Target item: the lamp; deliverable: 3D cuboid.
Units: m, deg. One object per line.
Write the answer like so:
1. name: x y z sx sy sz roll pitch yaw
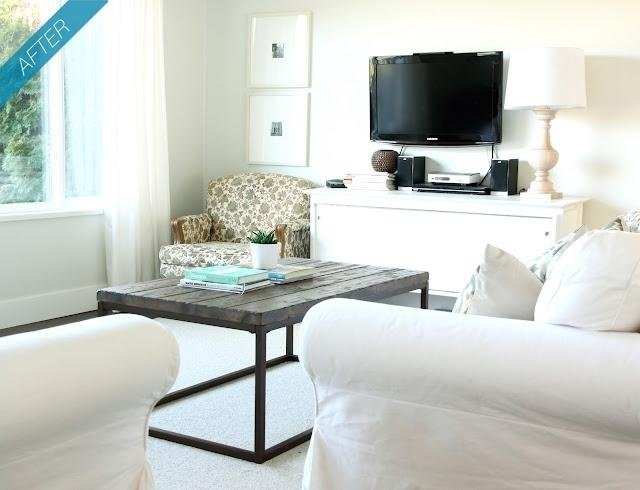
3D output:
1. lamp: 1.513 -0.800 3.471 0.376 0.970 0.444 -6 10 -43

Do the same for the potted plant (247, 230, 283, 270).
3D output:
1. potted plant: -0.278 0.021 2.632 0.166 0.210 0.198 0 -2 -17

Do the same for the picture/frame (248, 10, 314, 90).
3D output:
1. picture/frame: -0.333 -1.777 4.656 0.721 0.773 0.054 2 2 25

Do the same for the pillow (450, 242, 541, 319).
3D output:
1. pillow: 0.567 0.120 1.653 0.241 0.239 0.072 26 -8 -9

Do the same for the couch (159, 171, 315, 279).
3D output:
1. couch: -0.656 -0.248 4.367 1.149 1.189 0.926 0 -3 19
